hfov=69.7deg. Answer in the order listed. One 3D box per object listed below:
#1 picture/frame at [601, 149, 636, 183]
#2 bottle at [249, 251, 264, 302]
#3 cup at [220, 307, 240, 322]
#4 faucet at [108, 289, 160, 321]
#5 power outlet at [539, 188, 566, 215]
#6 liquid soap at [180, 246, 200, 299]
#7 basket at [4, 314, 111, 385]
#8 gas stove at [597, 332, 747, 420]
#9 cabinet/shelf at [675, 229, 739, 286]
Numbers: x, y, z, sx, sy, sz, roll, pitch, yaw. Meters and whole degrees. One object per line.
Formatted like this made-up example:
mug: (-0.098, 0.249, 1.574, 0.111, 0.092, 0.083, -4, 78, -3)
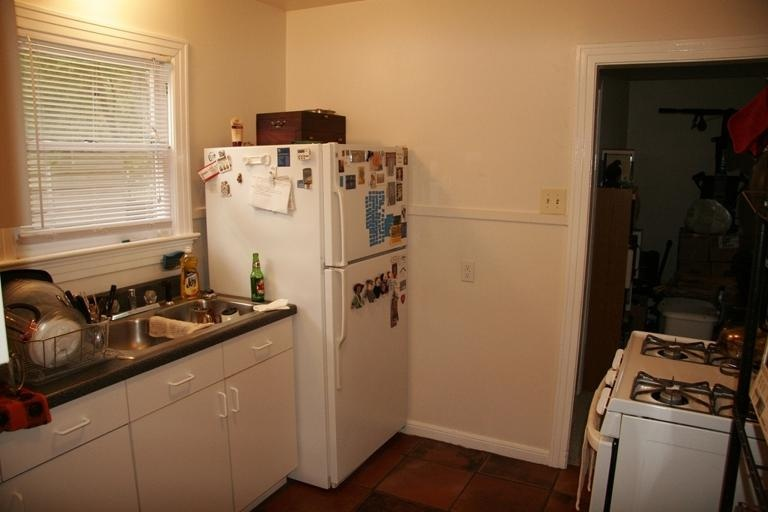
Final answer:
picture/frame: (1.991, -0.751, 4.711, 0.251, 0.277, 0.356, 4, 14, 20)
bottle: (-0.794, 0.124, 3.457, 0.092, 0.303, 0.137, -4, 14, -12)
cup: (-0.905, 0.336, 3.247, 0.087, 0.081, 0.077, -3, 5, 31)
faucet: (-1.434, 0.271, 3.211, 0.092, 0.122, 0.318, 5, 15, 18)
power outlet: (1.092, -0.358, 3.538, 0.177, 0.184, 0.026, 0, 5, 16)
liquid soap: (-1.238, 0.090, 3.484, 0.111, 0.307, 0.189, -7, 14, -22)
basket: (-1.544, 0.396, 2.583, 0.290, 0.178, 0.291, 10, 16, 36)
gas stove: (1.487, 0.604, 2.750, 0.499, 0.121, 0.740, 8, 21, 30)
cabinet/shelf: (3.125, 0.013, 5.509, 0.419, 0.778, 0.806, 0, -2, 4)
